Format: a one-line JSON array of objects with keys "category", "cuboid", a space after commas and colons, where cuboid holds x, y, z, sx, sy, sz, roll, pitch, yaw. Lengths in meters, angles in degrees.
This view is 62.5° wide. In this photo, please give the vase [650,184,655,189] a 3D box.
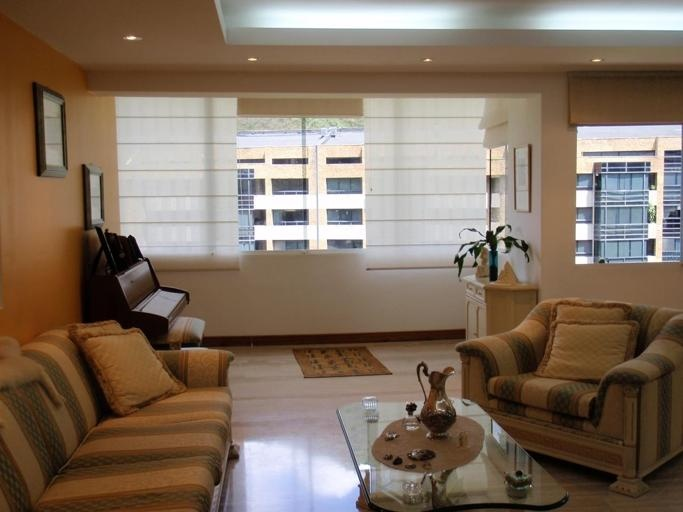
[{"category": "vase", "cuboid": [3.294, -0.725, 5.955, 0.046, 0.046, 0.041, 1, 1, 20]}]

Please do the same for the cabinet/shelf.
[{"category": "cabinet/shelf", "cuboid": [1.628, 0.705, 6.079, 0.404, 0.932, 0.960, -1, 5, -6]}]

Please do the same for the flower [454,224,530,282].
[{"category": "flower", "cuboid": [1.664, -0.075, 6.157, 0.674, 0.449, 0.686, 1, -12, -29]}]

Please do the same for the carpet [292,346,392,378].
[{"category": "carpet", "cuboid": [-0.034, 1.159, 6.181, 0.896, 0.046, 1.282, -2, 7, -12]}]

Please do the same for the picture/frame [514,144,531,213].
[{"category": "picture/frame", "cuboid": [1.906, -0.792, 5.953, 0.036, 0.718, 0.590, 2, 9, 32]}]

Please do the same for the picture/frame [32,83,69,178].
[{"category": "picture/frame", "cuboid": [-2.282, -0.985, 4.475, 0.045, 0.719, 0.855, -7, 16, -34]}]

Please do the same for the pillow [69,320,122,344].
[{"category": "pillow", "cuboid": [-1.523, 0.463, 3.476, 0.141, 0.057, 0.180, 10, 9, 42]}]
